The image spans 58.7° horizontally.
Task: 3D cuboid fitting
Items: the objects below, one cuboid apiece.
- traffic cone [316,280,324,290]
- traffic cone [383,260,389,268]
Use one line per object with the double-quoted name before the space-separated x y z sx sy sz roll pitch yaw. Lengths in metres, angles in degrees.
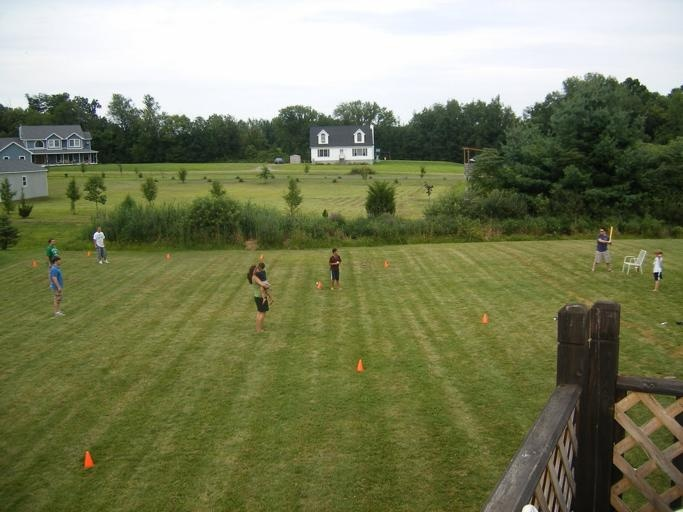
"traffic cone" -0.866 1.120 23.895 0.249 0.469 0.869 -1 -1 -4
"traffic cone" 2.067 0.344 28.435 0.259 0.362 0.830 -2 2 9
